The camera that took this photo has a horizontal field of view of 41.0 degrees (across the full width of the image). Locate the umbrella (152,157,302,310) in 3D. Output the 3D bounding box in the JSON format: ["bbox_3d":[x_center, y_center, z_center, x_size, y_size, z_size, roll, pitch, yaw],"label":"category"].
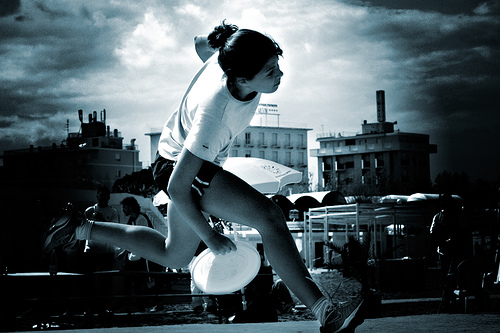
[{"bbox_3d":[-0.223,1.659,22.533,4.016,3.637,4.126,-9,3,24],"label":"umbrella"}]

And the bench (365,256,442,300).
[{"bbox_3d":[4.604,3.399,20.179,2.574,1.373,1.267,-3,-1,2],"label":"bench"}]
